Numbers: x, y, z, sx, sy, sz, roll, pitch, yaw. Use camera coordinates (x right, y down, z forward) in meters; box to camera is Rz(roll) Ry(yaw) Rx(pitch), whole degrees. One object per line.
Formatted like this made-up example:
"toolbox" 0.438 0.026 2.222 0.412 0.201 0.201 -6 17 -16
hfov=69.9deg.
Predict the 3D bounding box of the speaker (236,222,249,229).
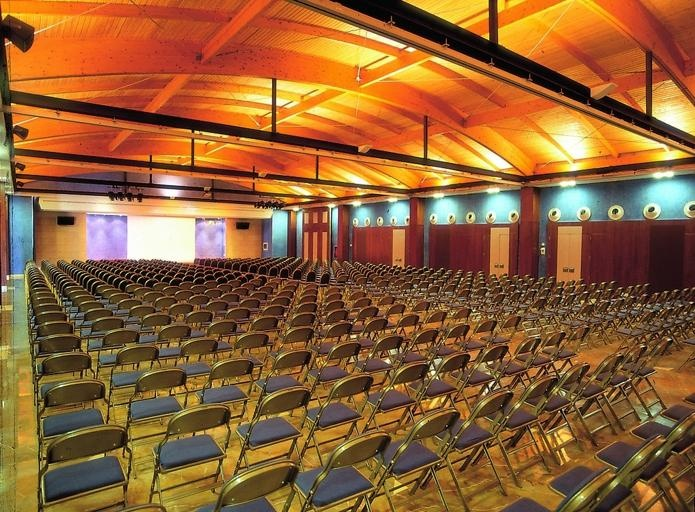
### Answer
"speaker" -6.292 -1.760 29.787 0.806 0.430 0.394 -1 11 -35
